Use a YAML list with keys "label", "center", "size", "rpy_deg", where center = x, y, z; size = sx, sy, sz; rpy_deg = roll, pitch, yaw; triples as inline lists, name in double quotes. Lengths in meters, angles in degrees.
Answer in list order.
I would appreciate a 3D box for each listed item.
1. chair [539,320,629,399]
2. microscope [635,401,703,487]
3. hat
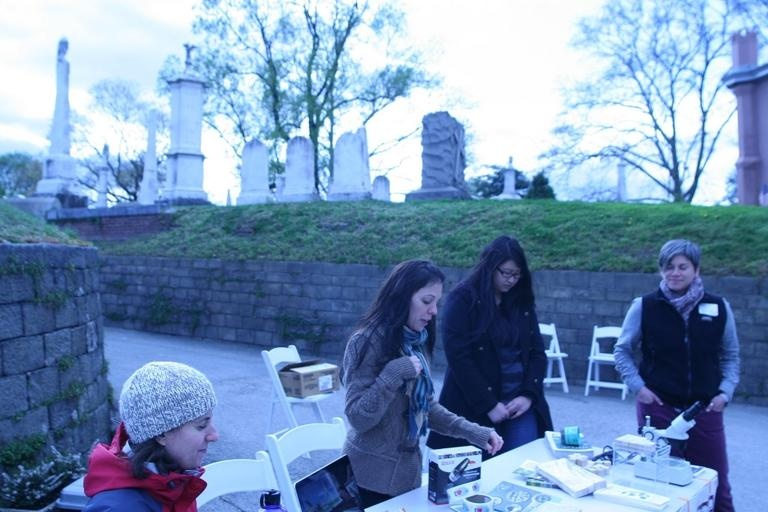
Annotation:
- label: "chair"
  center: [3.149, 1.665, 9.754]
  size: [1.182, 1.794, 1.201]
  rpy_deg: [-1, -2, 32]
- label: "microscope"
  center: [2.182, 1.432, 4.810]
  size: [0.624, 0.660, 0.430]
  rpy_deg: [0, -9, 16]
- label: "hat"
  center: [-1.300, 0.843, 3.816]
  size: [0.529, 0.441, 0.481]
  rpy_deg: [-2, 1, -11]
